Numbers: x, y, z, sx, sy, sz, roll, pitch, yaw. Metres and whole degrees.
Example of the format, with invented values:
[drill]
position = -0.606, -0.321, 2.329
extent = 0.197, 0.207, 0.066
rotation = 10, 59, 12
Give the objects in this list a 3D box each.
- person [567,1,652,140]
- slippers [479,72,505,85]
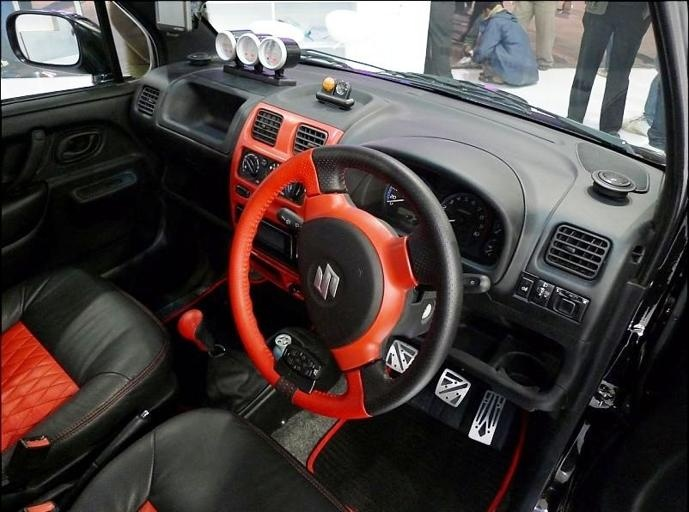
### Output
[person]
position = 1.025, -0.799, 1.910
extent = 0.242, 0.349, 0.728
rotation = 17, 37, 18
[slippers]
position = 0.596, -0.722, 1.953
extent = 0.106, 0.048, 0.052
rotation = 19, 42, 20
